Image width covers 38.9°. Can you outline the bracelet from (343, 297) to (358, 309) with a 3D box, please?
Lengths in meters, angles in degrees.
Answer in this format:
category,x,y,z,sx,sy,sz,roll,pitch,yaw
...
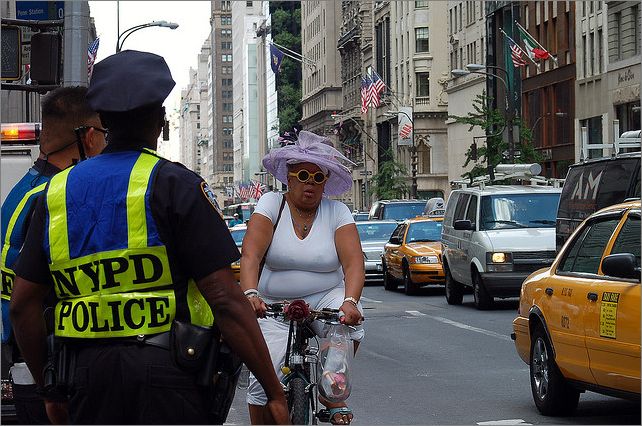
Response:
category,x,y,z,sx,sy,sz,roll,pitch,yaw
bracelet,0.214,0.627,6.340,0.063,0.034,0.071,1,7,-23

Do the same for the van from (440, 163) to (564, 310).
category,x,y,z,sx,sy,sz,roll,pitch,yaw
van,3.806,0.592,19.598,1.868,1.687,3.276,0,-2,-8

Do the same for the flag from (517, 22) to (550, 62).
category,x,y,z,sx,sy,sz,roll,pitch,yaw
flag,12.476,-9.943,53.159,0.830,1.442,4.818,-3,19,-13

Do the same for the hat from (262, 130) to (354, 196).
category,x,y,z,sx,sy,sz,roll,pitch,yaw
hat,-0.093,-0.424,7.154,0.563,0.302,0.571,22,-28,-16

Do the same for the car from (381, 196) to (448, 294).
category,x,y,z,sx,sy,sz,roll,pitch,yaw
car,2.431,1.238,23.653,1.505,1.624,3.503,11,7,3
